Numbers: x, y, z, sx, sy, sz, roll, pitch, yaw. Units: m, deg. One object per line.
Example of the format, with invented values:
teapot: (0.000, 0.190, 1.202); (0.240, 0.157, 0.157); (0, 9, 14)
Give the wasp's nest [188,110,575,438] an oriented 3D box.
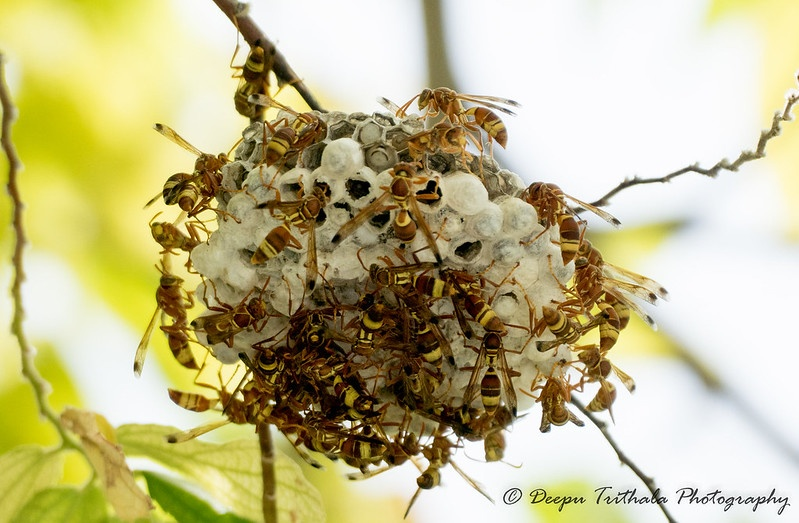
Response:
wasp's nest: (-0.093, -0.023, 3.543); (1.311, 0.765, 1.010); (6, -67, -2)
